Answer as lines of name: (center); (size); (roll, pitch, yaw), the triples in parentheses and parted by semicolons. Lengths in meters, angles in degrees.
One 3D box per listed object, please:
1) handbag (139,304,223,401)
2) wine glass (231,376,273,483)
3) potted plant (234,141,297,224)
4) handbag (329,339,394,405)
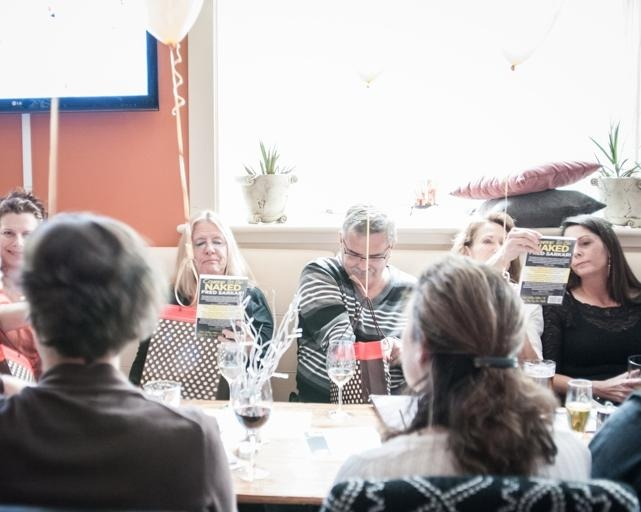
handbag: (-0.500, 0.358, 1.990); (0.329, 0.334, 0.092); (4, -10, 4)
wine glass: (-0.184, 0.424, 1.433); (0.101, 0.222, 0.269); (1, 11, -9)
potted plant: (-0.299, -0.418, 3.027); (0.322, 0.443, 0.388); (2, 11, -5)
handbag: (0.161, 0.367, 2.087); (0.227, 0.411, 0.313); (1, -1, 5)
